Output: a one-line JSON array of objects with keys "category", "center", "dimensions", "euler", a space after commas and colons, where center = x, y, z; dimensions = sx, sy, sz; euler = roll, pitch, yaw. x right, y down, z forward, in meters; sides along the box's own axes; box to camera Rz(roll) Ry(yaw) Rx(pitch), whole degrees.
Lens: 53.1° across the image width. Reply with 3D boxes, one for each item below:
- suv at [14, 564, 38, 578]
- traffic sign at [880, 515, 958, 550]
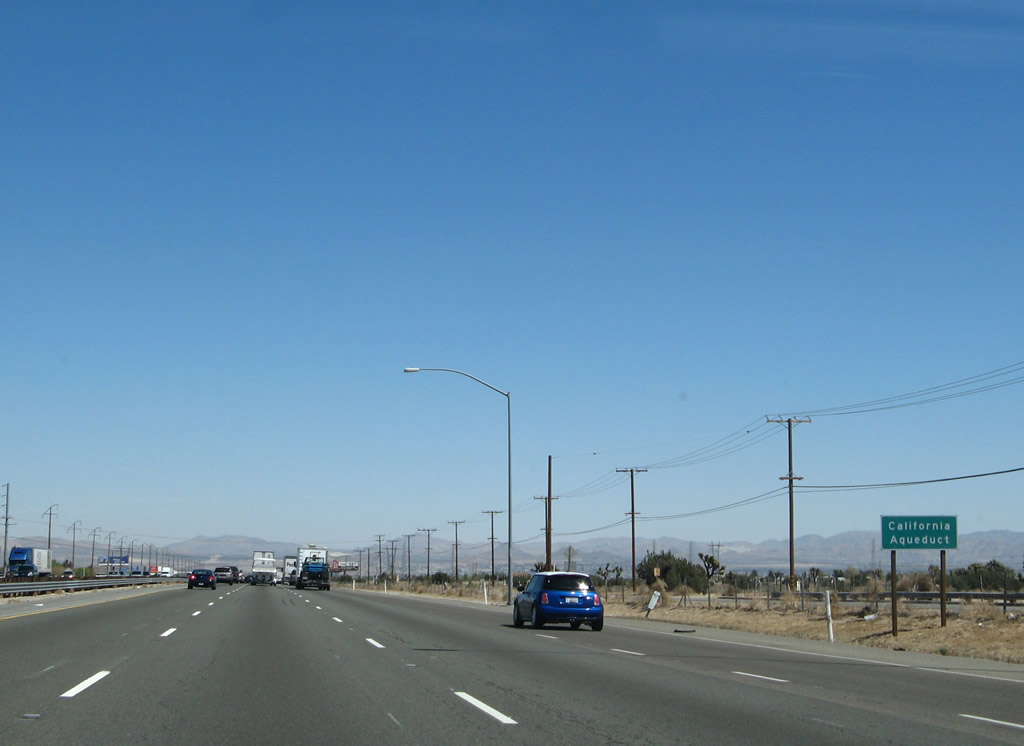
[{"category": "suv", "center": [-57.817, 23.587, 121.402], "dimensions": [1.777, 2.008, 1.952], "euler": [0, -10, -2]}, {"category": "traffic sign", "center": [13.181, 5.229, 33.199], "dimensions": [2.373, 1.089, 0.755], "euler": [0, -14, 1]}]
